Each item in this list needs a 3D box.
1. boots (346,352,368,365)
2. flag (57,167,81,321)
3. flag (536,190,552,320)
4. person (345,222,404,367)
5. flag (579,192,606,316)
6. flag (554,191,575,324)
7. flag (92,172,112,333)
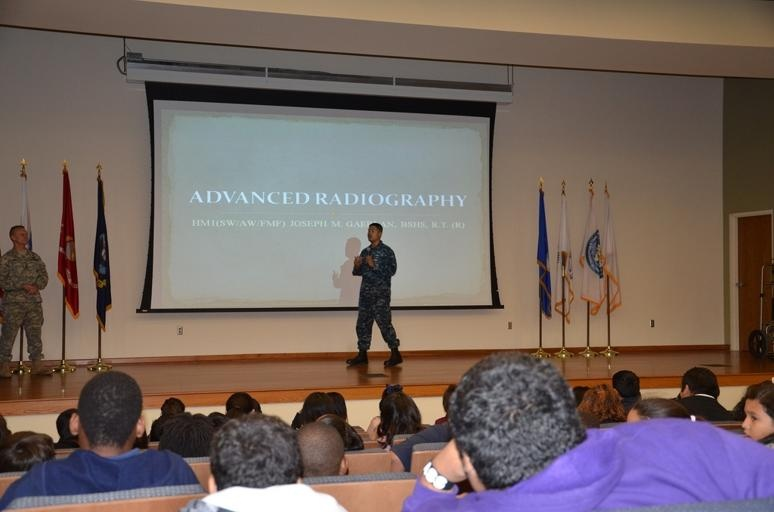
[{"bbox_3d":[-0.390,1.284,8.307,0.277,0.231,0.132,5,-2,-9],"label":"boots"},{"bbox_3d":[-3.934,-0.200,8.164,0.215,1.940,0.599,-1,-3,-26],"label":"flag"},{"bbox_3d":[2.238,-0.056,9.476,0.186,1.873,0.581,-3,-3,14],"label":"flag"},{"bbox_3d":[-0.191,0.468,8.141,0.620,1.778,0.542,-4,-3,36],"label":"person"},{"bbox_3d":[2.913,-0.074,9.451,0.332,1.765,0.340,-3,-3,18],"label":"flag"},{"bbox_3d":[2.517,-0.047,9.509,0.264,1.989,0.648,-3,-3,15],"label":"flag"},{"bbox_3d":[-3.559,-0.113,8.276,0.195,2.045,0.606,-1,-3,-23],"label":"flag"}]
